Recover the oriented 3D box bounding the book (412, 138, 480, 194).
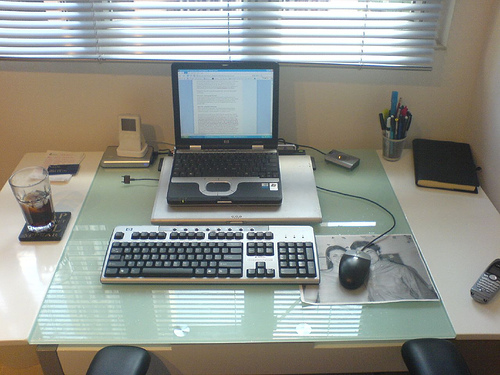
[{"bbox_3d":[0.720,-0.086,1.454,0.211,0.125,0.212,5,26,13],"label":"book"}]

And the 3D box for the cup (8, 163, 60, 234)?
[{"bbox_3d":[-0.700,0.044,1.268,0.129,0.203,0.133,-1,39,1],"label":"cup"}]

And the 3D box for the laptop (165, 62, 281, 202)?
[{"bbox_3d":[-0.073,-0.158,1.456,0.442,0.336,0.478,1,55,0],"label":"laptop"}]

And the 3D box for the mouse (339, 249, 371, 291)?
[{"bbox_3d":[0.286,0.253,1.114,0.077,0.042,0.130,13,16,19],"label":"mouse"}]
